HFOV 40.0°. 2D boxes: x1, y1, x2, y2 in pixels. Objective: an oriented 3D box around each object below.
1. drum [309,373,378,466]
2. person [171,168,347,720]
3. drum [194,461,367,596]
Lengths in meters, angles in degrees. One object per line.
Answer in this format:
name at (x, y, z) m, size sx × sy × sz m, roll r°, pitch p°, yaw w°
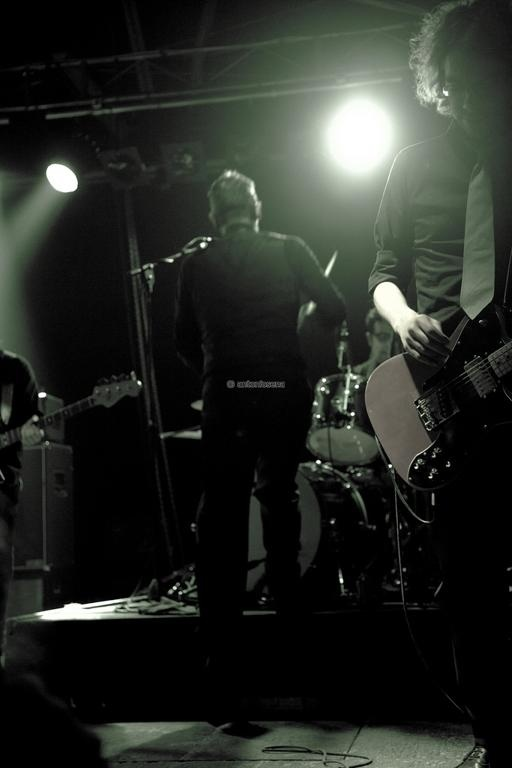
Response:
drum at (0.519, 0.208, 4.124) m, size 0.463 × 0.542 × 0.483 m, roll 7°, pitch -53°, yaw 6°
person at (0.009, 0.318, 2.731) m, size 0.611 × 1.874 × 0.354 m, roll -2°, pitch -6°, yaw -7°
drum at (0.235, 0.723, 3.588) m, size 0.597 × 0.622 × 0.579 m, roll 8°, pitch 18°, yaw 27°
